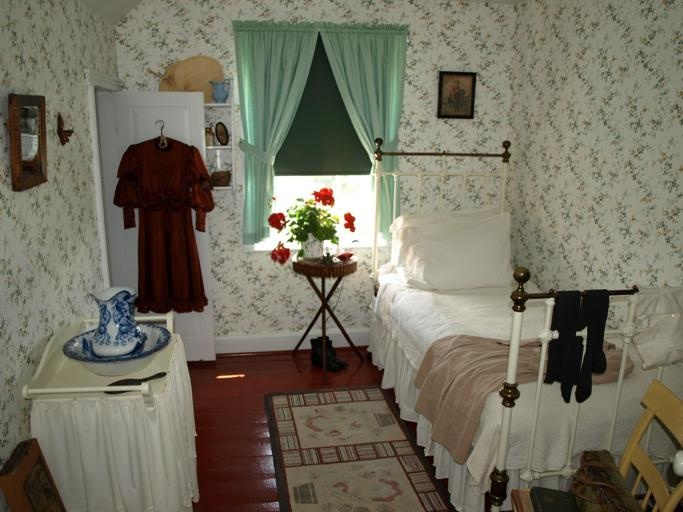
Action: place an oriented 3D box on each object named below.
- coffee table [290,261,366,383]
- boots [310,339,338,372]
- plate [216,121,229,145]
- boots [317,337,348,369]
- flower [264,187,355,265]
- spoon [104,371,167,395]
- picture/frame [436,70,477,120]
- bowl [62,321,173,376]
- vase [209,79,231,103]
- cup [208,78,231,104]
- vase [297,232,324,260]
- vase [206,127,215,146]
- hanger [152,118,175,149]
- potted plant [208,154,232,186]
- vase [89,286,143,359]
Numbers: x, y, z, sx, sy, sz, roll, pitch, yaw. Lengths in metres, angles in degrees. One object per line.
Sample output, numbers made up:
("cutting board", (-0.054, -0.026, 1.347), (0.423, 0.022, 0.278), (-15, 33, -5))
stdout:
("coffee table", (-0.132, 0.412, 4.184), (0.622, 0.885, 0.642), (-13, 18, -41))
("boots", (-0.193, 0.777, 4.108), (0.343, 0.258, 0.128), (-3, -2, 44))
("plate", (-0.915, -0.932, 3.937), (0.123, 0.153, 0.021), (32, 34, 13))
("boots", (-0.124, 0.742, 4.099), (0.347, 0.267, 0.127), (2, 35, -3))
("flower", (-0.220, -0.203, 3.978), (0.545, 0.502, 0.516), (-9, 23, -43))
("spoon", (-0.932, 0.571, 2.325), (0.350, 0.091, 0.050), (-14, -28, 11))
("picture/frame", (0.927, -1.341, 4.239), (0.342, 0.404, 0.029), (-2, 10, -17))
("bowl", (-1.029, 0.440, 2.419), (0.443, 0.115, 0.487), (3, 11, -1))
("vase", (-0.905, -1.222, 3.846), (0.119, 0.169, 0.147), (-10, 17, -35))
("cup", (-0.877, -1.198, 3.861), (0.198, 0.223, 0.162), (-1, 4, -2))
("vase", (-0.234, -0.062, 3.880), (0.155, 0.192, 0.167), (0, 3, 10))
("vase", (-0.990, -0.907, 3.912), (0.058, 0.133, 0.169), (-1, 14, 0))
("hanger", (-1.270, -0.864, 3.664), (0.082, 0.206, 0.115), (-6, 15, -22))
("potted plant", (-0.924, -0.668, 3.935), (0.161, 0.265, 0.275), (-4, 14, -13))
("vase", (-1.045, 0.320, 2.420), (0.224, 0.341, 0.314), (-3, -1, -7))
